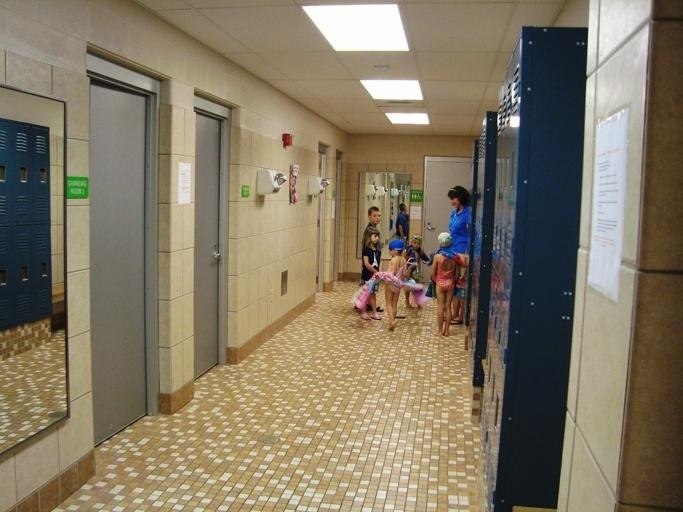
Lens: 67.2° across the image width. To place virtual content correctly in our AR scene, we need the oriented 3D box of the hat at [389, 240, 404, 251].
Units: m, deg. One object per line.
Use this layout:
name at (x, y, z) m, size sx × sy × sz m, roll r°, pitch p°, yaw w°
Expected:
hat at (0.785, -0.142, 7.252) m, size 0.173 × 0.180 × 0.314 m, roll 6°, pitch 8°, yaw 34°

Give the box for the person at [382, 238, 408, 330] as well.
person at (0.788, 0.375, 7.515) m, size 0.276 × 1.273 × 0.936 m, roll 2°, pitch 6°, yaw 7°

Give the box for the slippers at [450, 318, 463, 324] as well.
slippers at (1.750, 1.001, 7.797) m, size 0.178 × 0.055 × 0.073 m, roll 1°, pitch 4°, yaw -27°

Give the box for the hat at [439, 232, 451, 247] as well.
hat at (1.321, -0.240, 6.618) m, size 0.133 × 0.200 × 0.185 m, roll 1°, pitch -18°, yaw 9°

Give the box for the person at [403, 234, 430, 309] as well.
person at (1.242, 0.264, 8.606) m, size 0.504 × 1.469 × 0.501 m, roll 6°, pitch 36°, yaw 22°

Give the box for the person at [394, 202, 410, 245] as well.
person at (1.244, -0.691, 10.582) m, size 0.266 × 1.292 × 0.442 m, roll -5°, pitch 23°, yaw -5°

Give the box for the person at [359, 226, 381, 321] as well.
person at (0.450, 0.260, 7.882) m, size 0.287 × 1.382 × 0.744 m, roll 2°, pitch 6°, yaw 2°

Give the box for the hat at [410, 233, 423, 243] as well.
hat at (1.368, -0.334, 9.376) m, size 0.152 × 0.219 × 0.206 m, roll 12°, pitch 18°, yaw -7°
